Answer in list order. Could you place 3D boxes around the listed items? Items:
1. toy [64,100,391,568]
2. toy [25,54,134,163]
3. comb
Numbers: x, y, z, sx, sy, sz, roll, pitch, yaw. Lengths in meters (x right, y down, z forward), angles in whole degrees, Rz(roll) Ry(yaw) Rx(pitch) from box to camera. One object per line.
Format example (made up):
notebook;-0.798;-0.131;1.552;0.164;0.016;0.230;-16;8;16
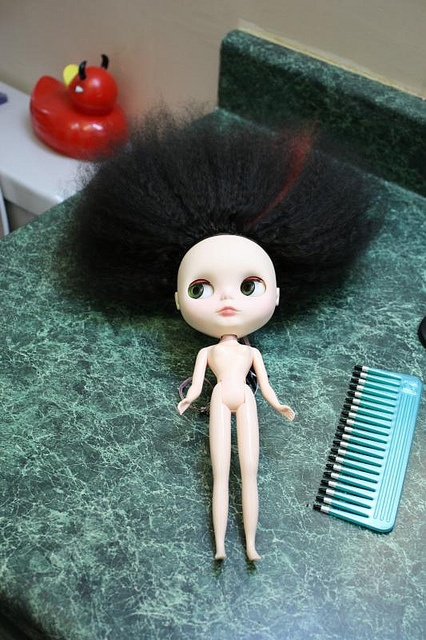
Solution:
toy;-0.007;0.026;0.723;0.393;0.193;0.470;-1;75;-22
toy;-0.323;-0.528;1.480;0.262;0.212;0.182;29;46;16
comb;0.159;0.138;0.634;0.112;0.017;0.246;14;46;21
